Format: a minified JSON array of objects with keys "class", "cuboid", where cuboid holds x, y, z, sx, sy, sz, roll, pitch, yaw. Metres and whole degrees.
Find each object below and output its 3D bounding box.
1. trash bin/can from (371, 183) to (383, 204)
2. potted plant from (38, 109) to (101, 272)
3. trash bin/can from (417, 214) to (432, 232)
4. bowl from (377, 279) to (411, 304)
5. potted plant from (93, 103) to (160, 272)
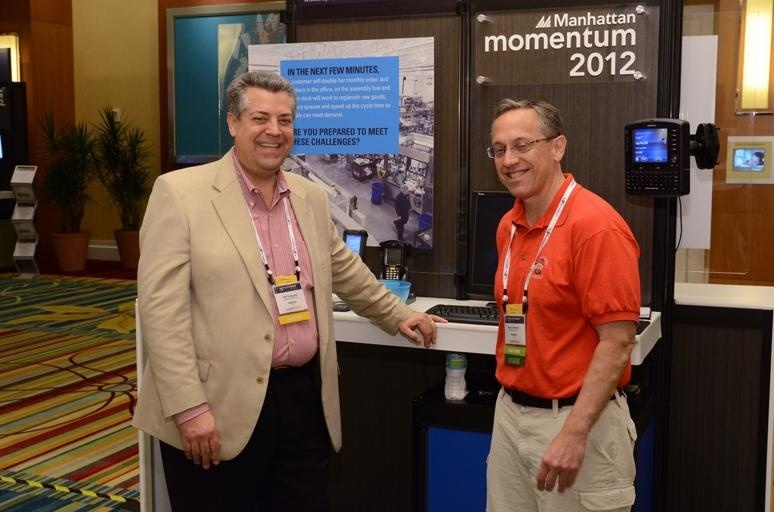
[{"class":"trash bin/can","cuboid":[-0.048,-0.393,3.418,0.095,0.171,0.109,1,13,3]},{"class":"potted plant","cuboid":[-5.333,-1.065,9.262,0.769,2.564,1.151,-6,11,-33]},{"class":"trash bin/can","cuboid":[0.229,-0.196,3.271,0.082,0.090,0.090,1,11,2]},{"class":"bowl","cuboid":[0.063,0.195,3.052,0.129,0.126,0.157,0,-1,3]},{"class":"potted plant","cuboid":[-4.386,-1.009,9.174,0.785,2.425,0.892,-9,-2,24]}]
